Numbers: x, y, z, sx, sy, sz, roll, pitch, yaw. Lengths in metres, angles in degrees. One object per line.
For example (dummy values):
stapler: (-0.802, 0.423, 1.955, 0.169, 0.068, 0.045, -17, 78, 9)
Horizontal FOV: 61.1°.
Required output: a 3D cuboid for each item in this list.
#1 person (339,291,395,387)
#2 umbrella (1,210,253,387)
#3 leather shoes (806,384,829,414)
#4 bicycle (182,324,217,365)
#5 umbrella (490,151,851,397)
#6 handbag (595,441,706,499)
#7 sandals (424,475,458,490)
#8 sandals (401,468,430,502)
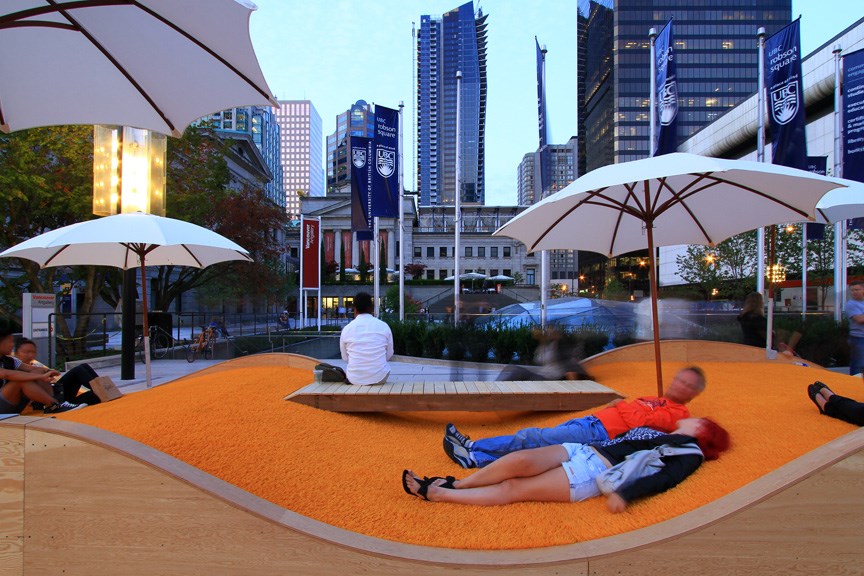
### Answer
person: (-1.095, 1.020, 12.175, 0.826, 2.032, 1.175, -4, 11, -9)
umbrella: (-8.102, 0.164, 19.224, 4.614, 3.958, 4.634, 0, -6, -30)
leather shoes: (5.555, 1.590, 10.469, 0.063, 0.444, 0.206, 5, -15, -24)
bicycle: (-7.048, 1.729, 22.507, 0.556, 0.831, 1.446, 10, 1, 6)
umbrella: (3.578, -0.204, 11.176, 4.276, 3.511, 2.446, 0, 0, 14)
handbag: (2.855, 2.330, 9.469, 0.893, 0.310, 0.894, -16, 16, 1)
sandals: (0.085, 2.517, 9.554, 0.416, 0.116, 0.168, 2, -4, -1)
sandals: (-0.213, 2.561, 9.494, 0.573, 0.234, 0.193, 24, 15, -5)
